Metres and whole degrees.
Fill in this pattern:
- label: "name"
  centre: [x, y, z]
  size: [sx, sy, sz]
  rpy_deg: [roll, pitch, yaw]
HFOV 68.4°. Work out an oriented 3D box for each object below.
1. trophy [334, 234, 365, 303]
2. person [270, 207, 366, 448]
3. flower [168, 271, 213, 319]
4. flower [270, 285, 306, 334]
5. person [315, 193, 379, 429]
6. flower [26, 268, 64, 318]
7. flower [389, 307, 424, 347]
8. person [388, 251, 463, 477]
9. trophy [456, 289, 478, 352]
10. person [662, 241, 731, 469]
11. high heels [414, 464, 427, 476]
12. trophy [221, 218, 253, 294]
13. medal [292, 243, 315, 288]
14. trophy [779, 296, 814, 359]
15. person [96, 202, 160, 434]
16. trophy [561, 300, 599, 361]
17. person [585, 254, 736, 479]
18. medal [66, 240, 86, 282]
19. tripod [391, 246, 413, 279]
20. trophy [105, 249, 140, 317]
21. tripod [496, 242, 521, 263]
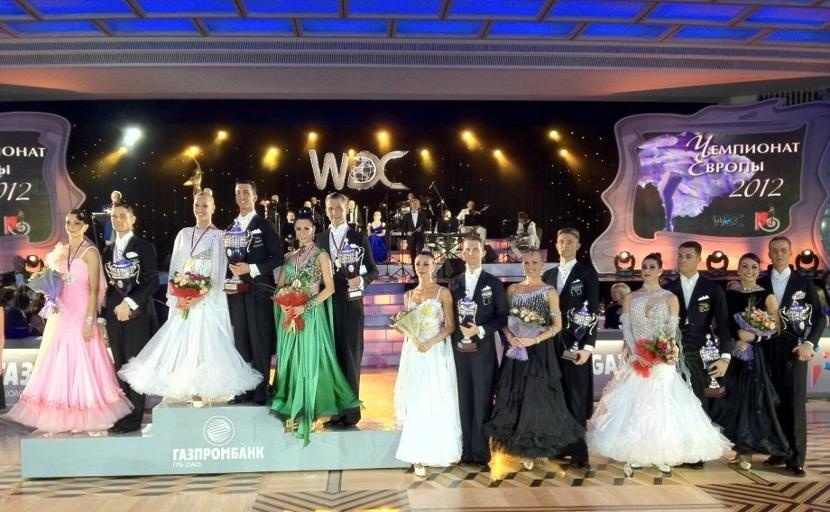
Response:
- label: "trophy"
  centre: [-0.863, 0.156, 8.016]
  size: [0.494, 0.838, 0.301]
  rpy_deg: [-9, 2, 0]
- label: "person"
  centre: [-1.358, 0.925, 7.923]
  size: [1.015, 2.966, 0.495]
  rpy_deg: [0, -5, -13]
- label: "flower"
  centre: [-2.892, 0.498, 7.846]
  size: [0.554, 0.565, 0.327]
  rpy_deg: [-1, -5, -2]
- label: "flower"
  centre: [-1.618, 0.679, 7.827]
  size: [0.619, 0.620, 0.310]
  rpy_deg: [2, 15, 7]
- label: "person"
  centre: [-0.925, 0.711, 8.301]
  size: [0.997, 2.880, 0.791]
  rpy_deg: [0, 0, -14]
- label: "flower"
  centre: [-4.862, 0.481, 7.960]
  size: [0.379, 0.627, 0.273]
  rpy_deg: [-4, -6, 25]
- label: "flower"
  centre: [-0.114, 0.903, 7.783]
  size: [0.368, 0.472, 0.267]
  rpy_deg: [3, -7, -42]
- label: "person"
  centre: [0.163, 1.304, 7.865]
  size: [0.863, 2.665, 0.440]
  rpy_deg: [-1, -5, -2]
- label: "trophy"
  centre: [0.703, 0.861, 7.862]
  size: [0.340, 0.701, 0.266]
  rpy_deg: [-4, -1, 26]
- label: "person"
  centre: [3.767, 1.219, 8.121]
  size: [0.897, 2.708, 0.726]
  rpy_deg: [-1, 0, 29]
- label: "high heels"
  centre: [0.077, 2.707, 7.777]
  size: [0.177, 0.156, 0.111]
  rpy_deg: [-1, -5, -1]
- label: "trophy"
  centre: [-2.316, -0.028, 7.965]
  size: [0.405, 1.050, 0.272]
  rpy_deg: [-2, -5, 4]
- label: "medal"
  centre: [-1.443, 0.130, 7.997]
  size: [0.206, 0.568, 0.124]
  rpy_deg: [14, -14, 12]
- label: "trophy"
  centre: [5.058, 0.991, 8.034]
  size: [0.297, 0.902, 0.311]
  rpy_deg: [1, 0, 3]
- label: "person"
  centre: [-3.819, 0.783, 8.214]
  size: [0.863, 2.841, 0.841]
  rpy_deg: [-2, 3, 45]
- label: "trophy"
  centre: [2.137, 0.968, 7.942]
  size: [0.448, 0.792, 0.268]
  rpy_deg: [13, -4, 17]
- label: "person"
  centre: [3.035, 1.380, 7.889]
  size: [1.569, 2.777, 0.612]
  rpy_deg: [-3, -5, 16]
- label: "medal"
  centre: [-4.466, 0.066, 8.114]
  size: [0.283, 0.478, 0.120]
  rpy_deg: [-3, -13, 35]
- label: "tripod"
  centre: [-0.139, 0.201, 14.573]
  size: [0.897, 0.819, 0.641]
  rpy_deg: [0, -5, -4]
- label: "trophy"
  centre: [-3.819, 0.346, 7.955]
  size: [0.315, 0.848, 0.288]
  rpy_deg: [1, -1, -1]
- label: "tripod"
  centre: [2.552, -0.090, 16.102]
  size: [0.584, 0.582, 0.544]
  rpy_deg: [-4, 7, -34]
